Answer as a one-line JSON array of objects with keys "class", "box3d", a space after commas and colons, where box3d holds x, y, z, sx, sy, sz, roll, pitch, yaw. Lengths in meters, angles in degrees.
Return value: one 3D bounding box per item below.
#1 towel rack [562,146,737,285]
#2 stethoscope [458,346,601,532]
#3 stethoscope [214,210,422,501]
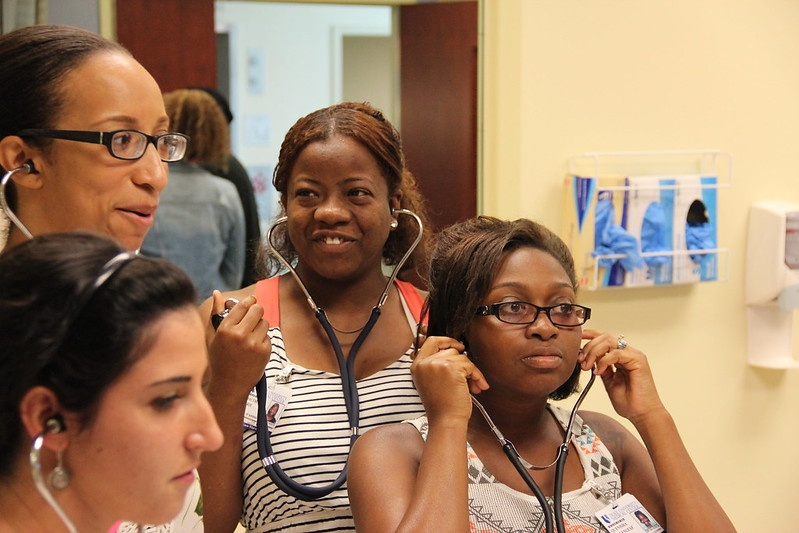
[{"class": "towel rack", "box3d": [0.860, -0.144, 2.426, 0.256, 0.419, 0.490, 1, 0, -42]}, {"class": "stethoscope", "box3d": [0.325, 0.448, 1.875, 0.295, 0.321, 0.355, 3, 11, 15]}, {"class": "stethoscope", "box3d": [-0.233, 0.200, 2.225, 0.377, 0.065, 1.226, -3, 34, 3]}]
